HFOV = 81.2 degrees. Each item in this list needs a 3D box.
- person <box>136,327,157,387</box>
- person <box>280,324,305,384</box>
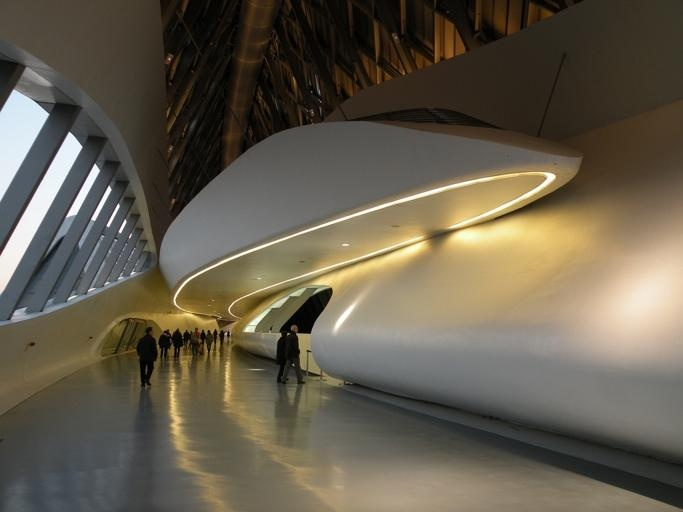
[{"bbox_3d":[-4.932,2.485,9.985,0.422,1.499,1.722,6,-6,-25],"label":"person"},{"bbox_3d":[-1.314,2.623,10.890,0.573,1.569,1.971,4,-6,-6],"label":"person"}]
